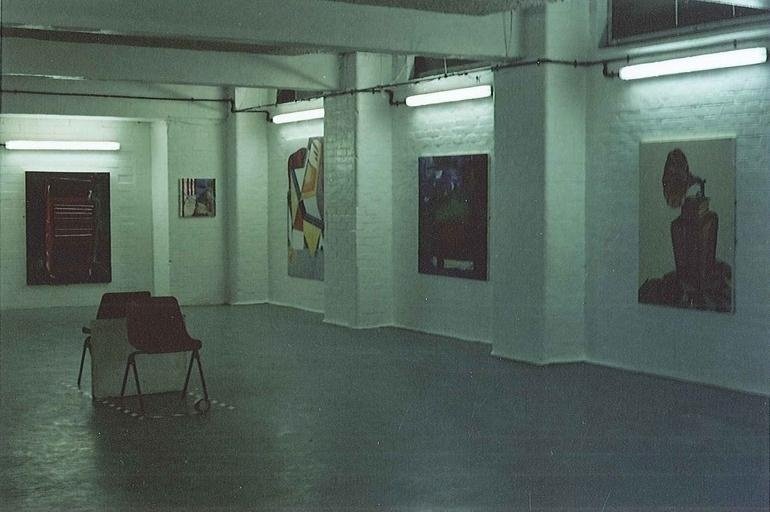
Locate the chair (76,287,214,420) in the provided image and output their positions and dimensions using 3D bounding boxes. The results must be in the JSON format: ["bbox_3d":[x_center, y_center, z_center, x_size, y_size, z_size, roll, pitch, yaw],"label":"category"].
[{"bbox_3d":[-2.479,0.950,7.717,1.059,1.125,0.667,0,7,-11],"label":"chair"}]
